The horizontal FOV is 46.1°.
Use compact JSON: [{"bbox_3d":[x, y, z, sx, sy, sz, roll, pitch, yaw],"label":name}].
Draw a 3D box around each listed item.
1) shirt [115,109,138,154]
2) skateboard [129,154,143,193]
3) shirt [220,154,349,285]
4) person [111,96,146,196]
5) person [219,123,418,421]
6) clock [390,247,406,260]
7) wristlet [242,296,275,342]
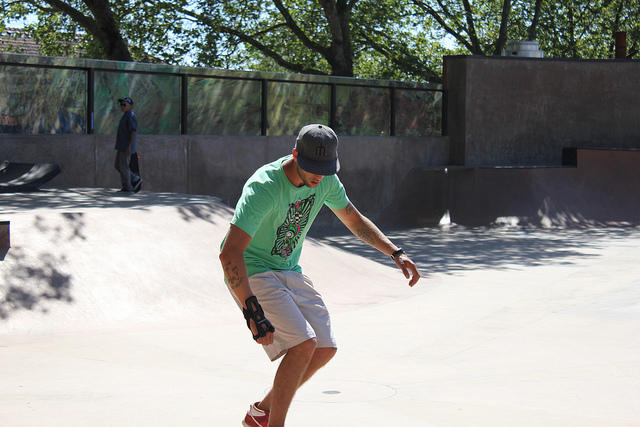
[{"bbox_3d":[-3.737,-1.575,14.558,0.377,0.848,0.384,0,4,-20],"label":"shirt"},{"bbox_3d":[-3.600,-0.787,14.749,0.196,0.782,0.130,-3,-2,-6],"label":"skateboard"},{"bbox_3d":[-0.319,0.035,6.906,1.080,1.066,0.280,-1,4,-30],"label":"shirt"},{"bbox_3d":[-3.682,-1.295,14.499,0.485,1.833,0.628,0,4,-15],"label":"person"},{"bbox_3d":[-0.168,0.505,6.916,1.495,2.603,0.630,-2,5,-40],"label":"person"},{"bbox_3d":[0.747,0.380,7.283,0.134,0.085,0.141,-26,-8,-6],"label":"clock"},{"bbox_3d":[-0.534,0.915,6.500,0.256,0.353,0.092,-26,-2,-16],"label":"wristlet"}]
